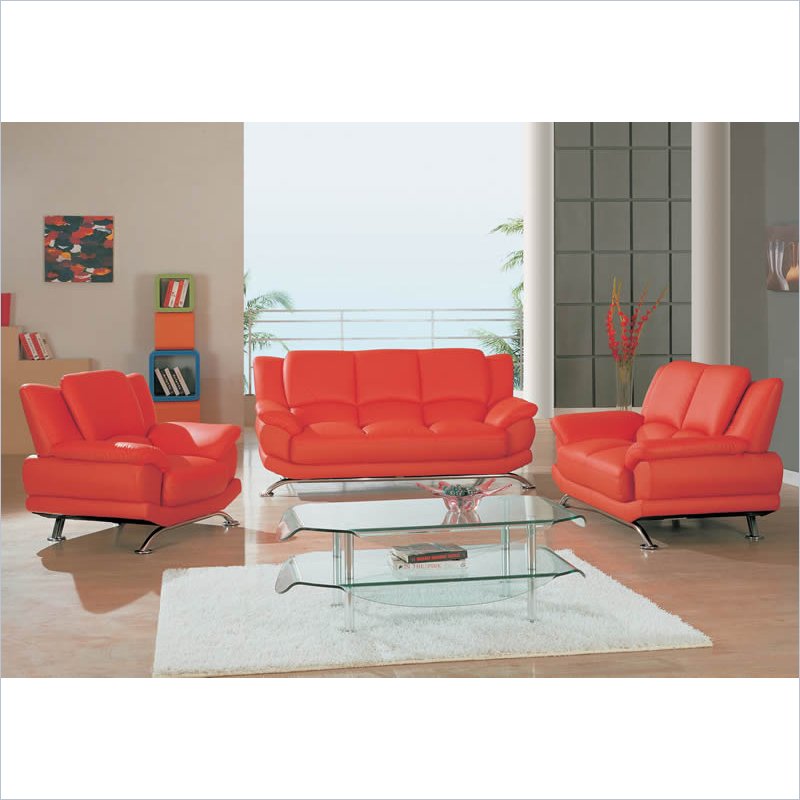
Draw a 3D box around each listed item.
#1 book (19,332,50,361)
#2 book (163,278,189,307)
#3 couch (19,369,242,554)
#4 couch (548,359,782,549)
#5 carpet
[{"bbox_3d":[-3.229,-0.456,7.211,0.182,0.232,0.277,-6,8,-2],"label":"book"},{"bbox_3d":[-2.041,-0.964,7.462,0.300,0.226,0.077,-2,-3,-6],"label":"book"},{"bbox_3d":[-1.357,0.252,4.340,1.063,0.959,1.203,1,3,10],"label":"couch"},{"bbox_3d":[1.393,0.239,4.294,0.887,0.802,1.024,-6,12,-10],"label":"couch"},{"bbox_3d":[0.012,0.767,3.067,1.875,0.150,1.032,-4,11,-7],"label":"carpet"}]
